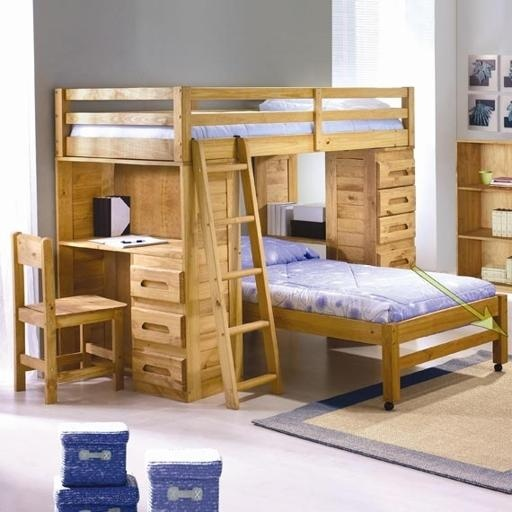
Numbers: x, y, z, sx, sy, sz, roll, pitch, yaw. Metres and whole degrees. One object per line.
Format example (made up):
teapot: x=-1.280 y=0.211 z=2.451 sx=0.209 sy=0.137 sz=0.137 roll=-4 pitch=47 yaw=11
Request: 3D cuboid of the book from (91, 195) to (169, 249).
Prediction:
book: x=-0.810 y=-0.218 z=3.681 sx=0.357 sy=0.237 sz=0.472 roll=-7 pitch=15 yaw=-35

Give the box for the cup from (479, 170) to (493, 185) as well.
cup: x=2.334 y=-0.796 z=5.925 sx=0.157 sy=0.114 sz=0.156 roll=-1 pitch=2 yaw=0

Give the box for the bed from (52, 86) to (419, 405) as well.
bed: x=0.015 y=-0.318 z=4.148 sx=1.418 sy=1.497 sz=2.169 roll=10 pitch=17 yaw=41

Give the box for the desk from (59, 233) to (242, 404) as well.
desk: x=-0.800 y=0.363 z=3.720 sx=1.263 sy=0.856 sz=0.533 roll=4 pitch=8 yaw=32

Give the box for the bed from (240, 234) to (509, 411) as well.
bed: x=0.586 y=0.297 z=3.472 sx=1.330 sy=0.438 sz=0.906 roll=11 pitch=16 yaw=43

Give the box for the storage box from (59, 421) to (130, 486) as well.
storage box: x=-0.411 y=0.485 z=1.505 sx=0.177 sy=0.102 sz=0.157 roll=0 pitch=7 yaw=1
